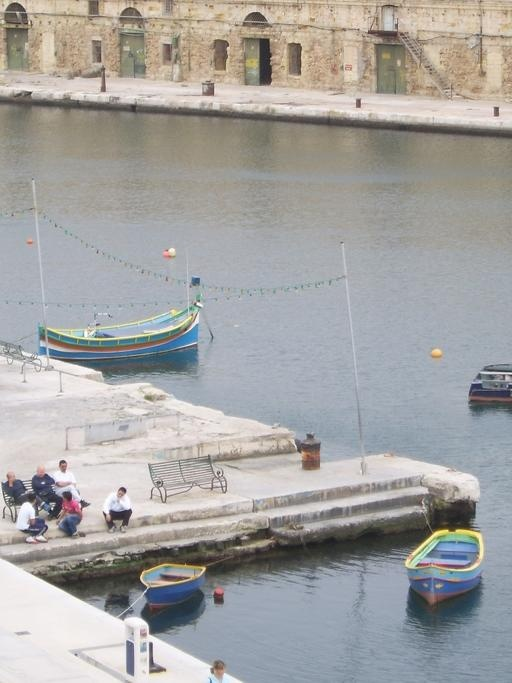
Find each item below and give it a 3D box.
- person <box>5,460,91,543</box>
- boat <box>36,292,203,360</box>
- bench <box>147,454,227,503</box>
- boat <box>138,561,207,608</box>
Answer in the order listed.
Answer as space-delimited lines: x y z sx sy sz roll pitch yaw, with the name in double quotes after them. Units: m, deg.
-3.565 2.702 39.130 1.367 1.033 1.254 0 13 -11 "person"
-3.007 0.178 52.887 2.749 1.656 2.312 -14 17 -40 "boat"
-1.227 2.412 41.018 1.366 0.870 0.566 -6 7 -33 "bench"
-1.428 4.131 38.490 0.882 0.658 1.675 0 6 17 "boat"
